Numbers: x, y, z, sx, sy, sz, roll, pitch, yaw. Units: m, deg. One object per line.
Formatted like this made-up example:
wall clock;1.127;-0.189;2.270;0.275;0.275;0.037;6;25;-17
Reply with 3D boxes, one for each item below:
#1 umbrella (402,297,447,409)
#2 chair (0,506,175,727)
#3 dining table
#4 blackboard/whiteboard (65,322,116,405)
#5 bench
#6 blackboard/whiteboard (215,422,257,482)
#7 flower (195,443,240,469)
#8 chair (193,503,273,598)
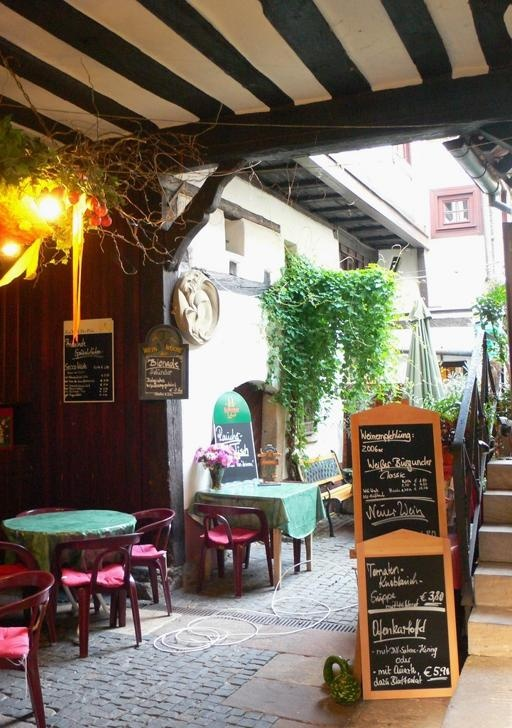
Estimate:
umbrella;2.206;-0.180;7.363;0.480;1.494;0.532;-2;-8;2
chair;-1.187;1.602;3.879;0.993;0.768;0.931;0;-2;7
dining table;0.057;1.637;5.399;1.145;0.797;1.146;-3;-9;16
blackboard/whiteboard;-1.546;0.002;5.234;0.721;1.035;0.043;-2;-6;22
bench;1.149;1.770;7.730;0.618;1.005;1.833;-7;-8;23
blackboard/whiteboard;-0.224;0.917;5.725;0.049;0.731;0.614;-7;-5;31
flower;-0.410;0.839;5.346;0.289;0.212;0.286;-1;3;-42
chair;-0.226;1.615;4.955;0.556;0.742;0.539;-6;-9;24
